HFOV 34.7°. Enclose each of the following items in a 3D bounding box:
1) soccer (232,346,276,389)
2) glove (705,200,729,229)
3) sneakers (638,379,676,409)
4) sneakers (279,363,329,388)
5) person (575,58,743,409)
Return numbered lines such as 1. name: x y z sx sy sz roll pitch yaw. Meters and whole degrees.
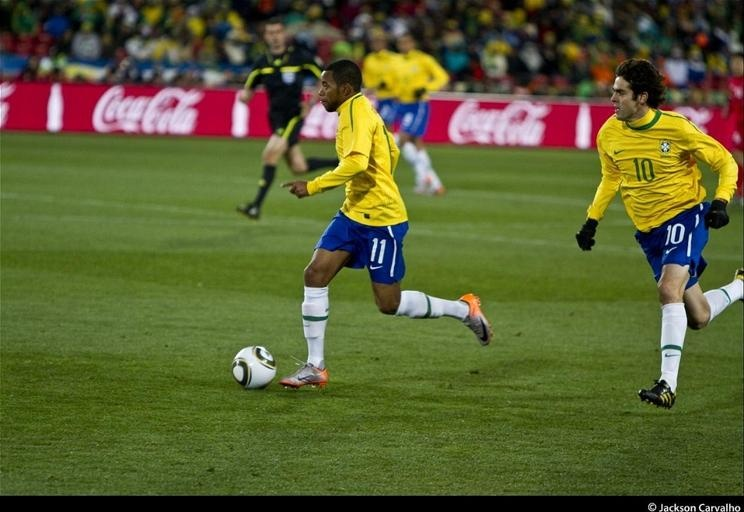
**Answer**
1. soccer: -0.889 0.835 8.998 0.359 0.307 0.323 2 -8 -10
2. glove: 2.614 -0.311 8.898 0.107 0.208 0.160 -6 -9 -7
3. sneakers: 2.091 1.014 8.739 0.363 0.175 0.137 21 -16 -39
4. sneakers: -0.488 0.925 9.055 0.446 0.192 0.149 0 -6 -6
5. person: 2.239 -0.196 9.051 1.195 2.558 1.108 3 7 8
